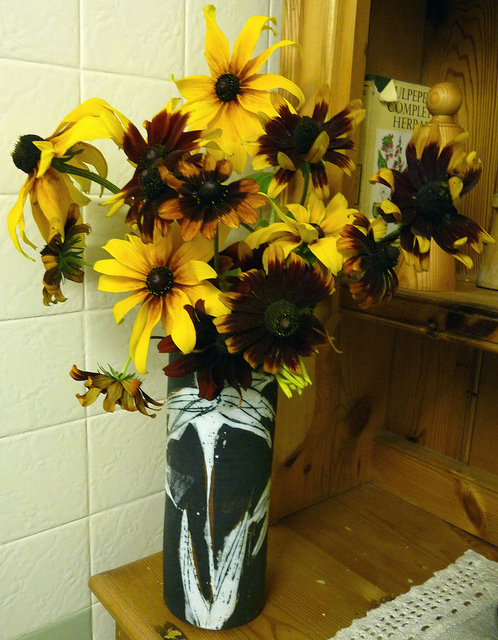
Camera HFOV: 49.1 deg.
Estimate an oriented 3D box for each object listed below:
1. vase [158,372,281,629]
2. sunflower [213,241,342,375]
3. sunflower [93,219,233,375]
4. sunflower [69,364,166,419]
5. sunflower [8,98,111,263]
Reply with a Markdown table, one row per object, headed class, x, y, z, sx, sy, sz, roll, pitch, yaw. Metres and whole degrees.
| class | x | y | z | sx | sy | sz | roll | pitch | yaw |
| --- | --- | --- | --- | --- | --- | --- | --- | --- | --- |
| vase | -0.046 | 0.206 | 0.686 | 0.161 | 0.332 | 0.257 | 2 | 8 | 2 |
| sunflower | 0.029 | -0.004 | 0.476 | 0.113 | 0.116 | 0.039 | -17 | 11 | -8 |
| sunflower | -0.076 | -0.032 | 0.526 | 0.099 | 0.142 | 0.120 | -7 | 23 | -28 |
| sunflower | -0.138 | 0.069 | 0.547 | 0.092 | 0.036 | 0.095 | 12 | -8 | 42 |
| sunflower | -0.201 | -0.138 | 0.573 | 0.104 | 0.163 | 0.242 | 0 | 8 | -15 |
